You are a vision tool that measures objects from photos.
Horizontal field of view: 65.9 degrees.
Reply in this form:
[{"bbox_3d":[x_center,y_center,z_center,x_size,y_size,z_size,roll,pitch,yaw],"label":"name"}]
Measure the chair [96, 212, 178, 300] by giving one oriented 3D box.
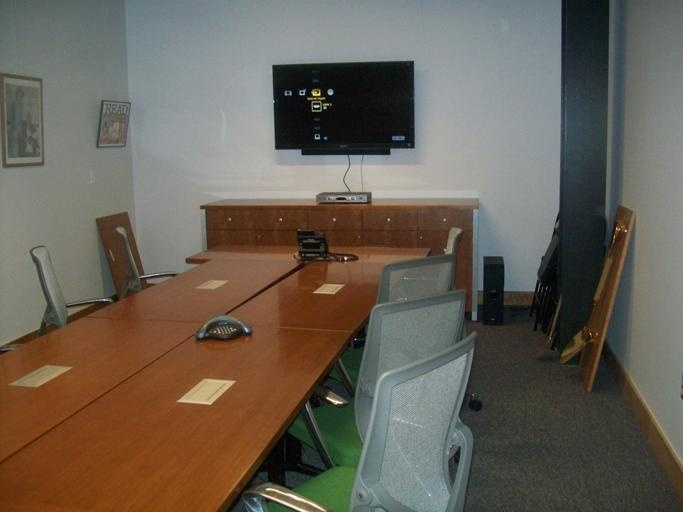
[{"bbox_3d":[-2.274,-0.046,5.772,0.709,1.205,0.709,5,14,26],"label":"chair"}]
